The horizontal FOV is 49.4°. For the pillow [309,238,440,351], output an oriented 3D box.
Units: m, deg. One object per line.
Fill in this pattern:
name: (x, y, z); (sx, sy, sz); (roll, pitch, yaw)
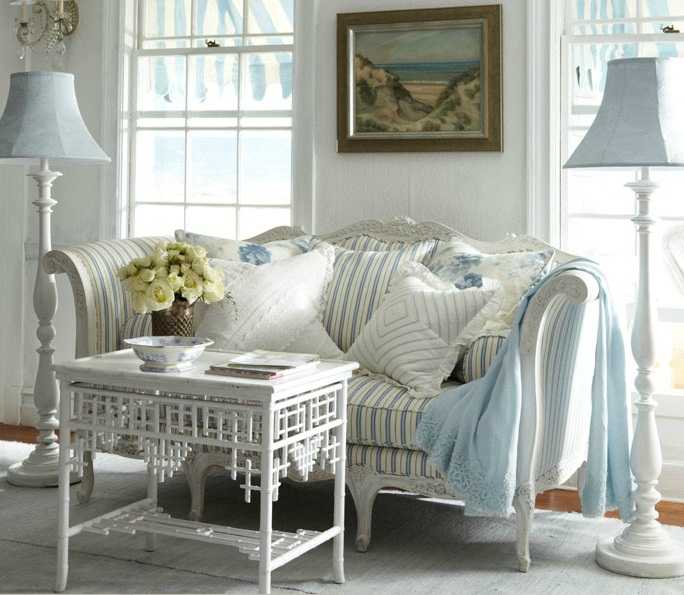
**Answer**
pillow: (0.193, -0.011, 3.692); (0.591, 0.510, 0.177); (5, -20, 46)

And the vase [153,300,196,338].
vase: (-0.602, 0.080, 2.736); (0.143, 0.126, 0.137); (1, -2, 20)

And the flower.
flower: (-0.604, -0.066, 2.628); (0.297, 0.192, 0.286); (1, 3, 18)

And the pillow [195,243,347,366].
pillow: (-0.315, -0.003, 3.301); (0.558, 0.475, 0.158); (6, -37, 1)

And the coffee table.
coffee table: (-0.460, 0.616, 2.644); (0.926, 0.810, 0.655); (2, 3, 24)
